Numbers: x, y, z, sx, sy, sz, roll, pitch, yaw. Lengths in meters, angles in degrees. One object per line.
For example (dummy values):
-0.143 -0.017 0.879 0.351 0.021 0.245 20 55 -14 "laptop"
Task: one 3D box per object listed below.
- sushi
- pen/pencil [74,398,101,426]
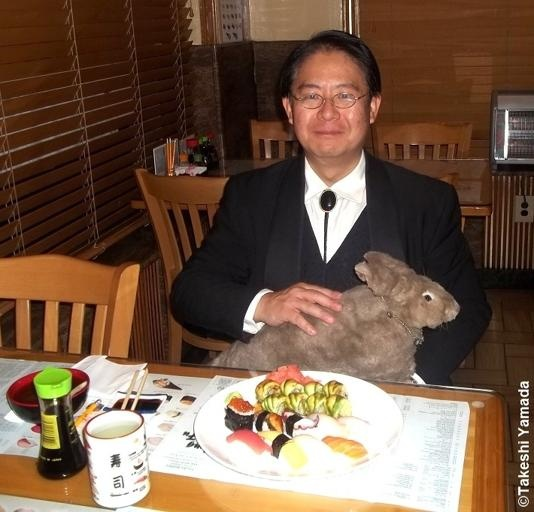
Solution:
0.031 0.218 0.670 0.205 0.076 0.141 -5 18 -13 "sushi"
-0.287 0.253 0.737 0.013 0.006 0.040 14 20 15 "pen/pencil"
